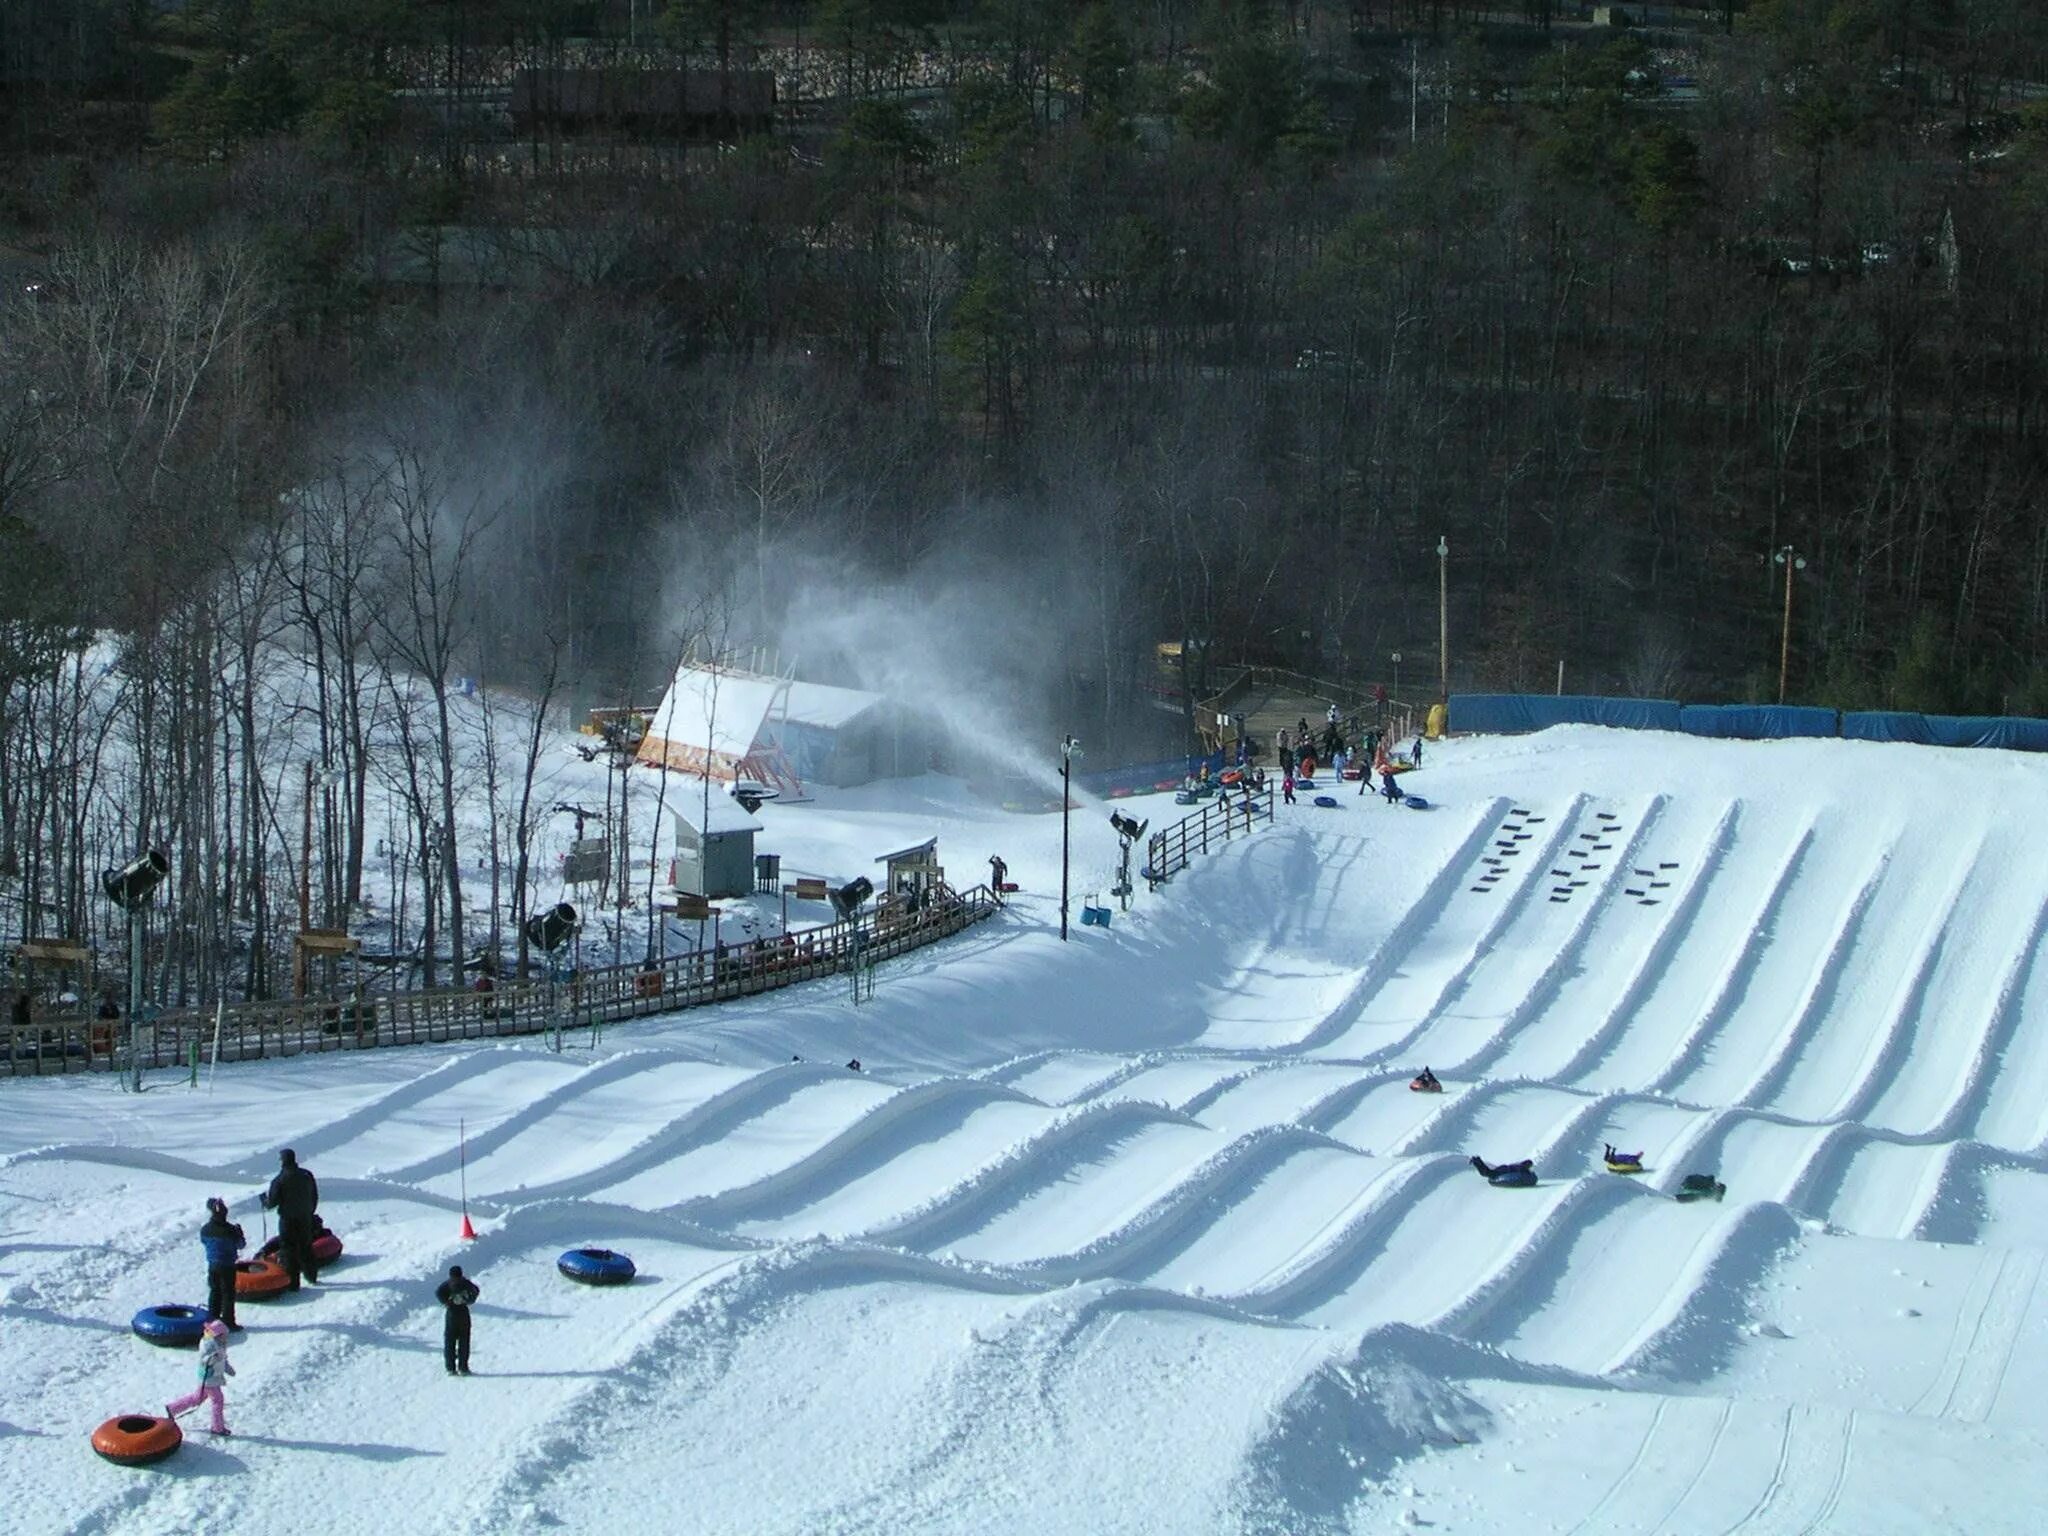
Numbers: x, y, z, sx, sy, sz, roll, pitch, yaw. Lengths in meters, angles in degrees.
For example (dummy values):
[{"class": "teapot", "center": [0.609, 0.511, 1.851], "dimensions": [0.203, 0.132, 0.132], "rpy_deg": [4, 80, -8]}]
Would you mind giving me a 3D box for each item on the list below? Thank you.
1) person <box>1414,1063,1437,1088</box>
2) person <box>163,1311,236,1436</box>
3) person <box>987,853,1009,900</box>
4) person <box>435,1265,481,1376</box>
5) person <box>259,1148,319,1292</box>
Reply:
[{"class": "person", "center": [10.197, 7.829, 79.726], "dimensions": [0.456, 0.878, 0.414], "rpy_deg": [2, 8, 9]}, {"class": "person", "center": [-15.966, 11.696, 61.134], "dimensions": [1.217, 2.260, 0.998], "rpy_deg": [1, 5, 3]}, {"class": "person", "center": [-0.750, 3.202, 89.701], "dimensions": [0.778, 1.660, 0.303], "rpy_deg": [9, 27, 14]}, {"class": "person", "center": [-11.292, 10.891, 62.847], "dimensions": [0.791, 2.136, 1.286], "rpy_deg": [0, 5, -11]}, {"class": "person", "center": [-14.928, 9.101, 64.131], "dimensions": [0.981, 2.835, 0.832], "rpy_deg": [1, 5, 7]}]
